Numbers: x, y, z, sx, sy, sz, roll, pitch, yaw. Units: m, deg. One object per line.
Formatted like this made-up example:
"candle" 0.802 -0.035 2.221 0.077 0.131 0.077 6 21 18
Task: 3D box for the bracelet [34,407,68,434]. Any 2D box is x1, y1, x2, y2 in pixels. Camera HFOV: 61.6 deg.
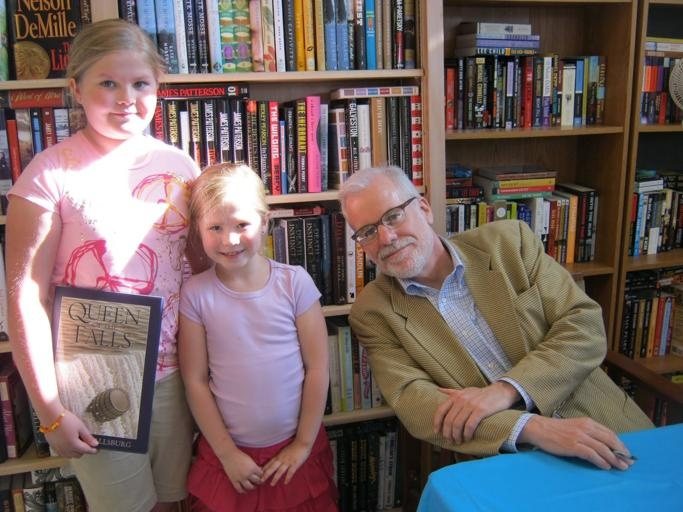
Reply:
"bracelet" -0.799 0.459 1.574 0.081 0.061 0.024 -2 9 11

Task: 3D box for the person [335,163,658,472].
"person" 0.516 0.147 1.816 0.690 0.886 0.942 -12 12 -42
